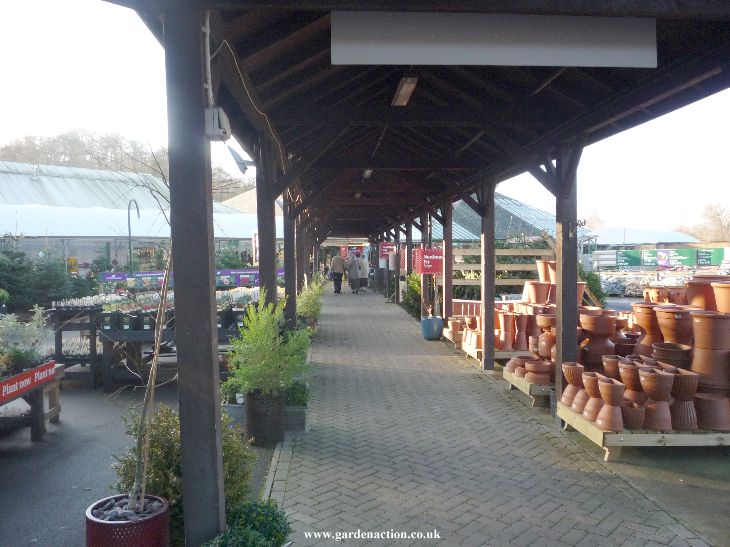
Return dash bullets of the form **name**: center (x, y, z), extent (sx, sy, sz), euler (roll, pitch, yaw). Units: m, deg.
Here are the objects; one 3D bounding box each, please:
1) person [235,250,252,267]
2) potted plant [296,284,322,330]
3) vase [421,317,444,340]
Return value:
- **person**: center (-4.312, -0.508, 23.006), extent (0.565, 0.628, 1.067), euler (-2, 6, -15)
- **potted plant**: center (-1.268, 0.781, 14.696), extent (0.458, 0.582, 0.952), euler (2, 4, -2)
- **vase**: center (1.427, 1.175, 13.954), extent (0.446, 0.470, 0.474), euler (-2, 2, -2)
